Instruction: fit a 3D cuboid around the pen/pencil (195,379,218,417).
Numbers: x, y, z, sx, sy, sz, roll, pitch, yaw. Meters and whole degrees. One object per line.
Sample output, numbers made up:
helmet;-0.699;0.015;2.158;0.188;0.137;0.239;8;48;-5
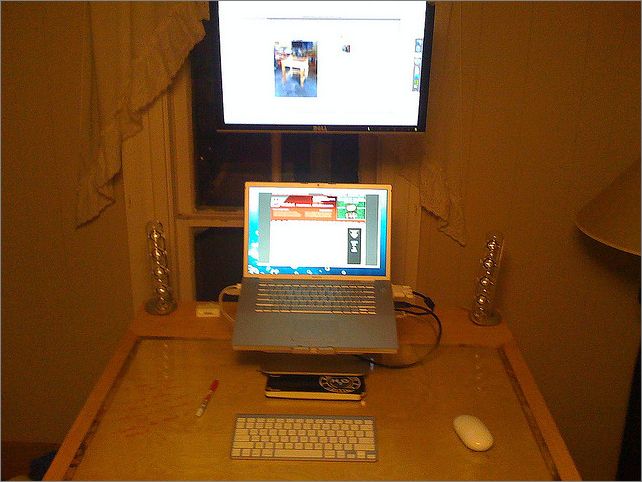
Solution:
pen/pencil;-0.336;0.451;1.488;0.020;0.016;0.134;16;33;1
